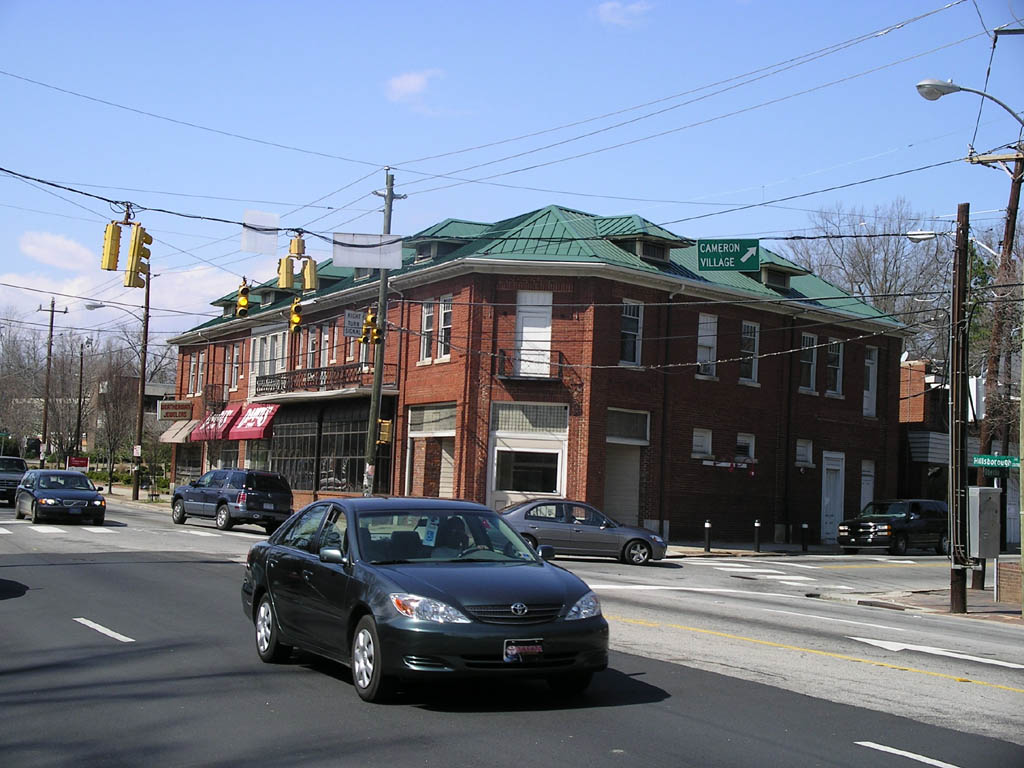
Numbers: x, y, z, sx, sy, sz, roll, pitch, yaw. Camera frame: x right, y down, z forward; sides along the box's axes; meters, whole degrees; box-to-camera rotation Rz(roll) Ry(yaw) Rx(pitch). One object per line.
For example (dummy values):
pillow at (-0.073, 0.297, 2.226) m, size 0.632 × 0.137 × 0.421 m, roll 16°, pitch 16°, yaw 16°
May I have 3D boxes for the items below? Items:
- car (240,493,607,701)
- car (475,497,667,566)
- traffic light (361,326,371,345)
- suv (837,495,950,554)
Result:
car at (-1.006, 2.099, 10.639) m, size 1.796 × 1.855 × 3.718 m, roll 2°, pitch -4°, yaw -44°
car at (1.618, 3.918, 28.167) m, size 5.124 × 1.597 × 2.052 m, roll 2°, pitch -2°, yaw -9°
traffic light at (-4.430, -1.455, 31.564) m, size 0.374 × 0.655 × 0.365 m, roll 1°, pitch 0°, yaw -16°
suv at (14.467, 5.236, 38.952) m, size 3.698 × 1.386 × 1.966 m, roll 6°, pitch -10°, yaw -32°
